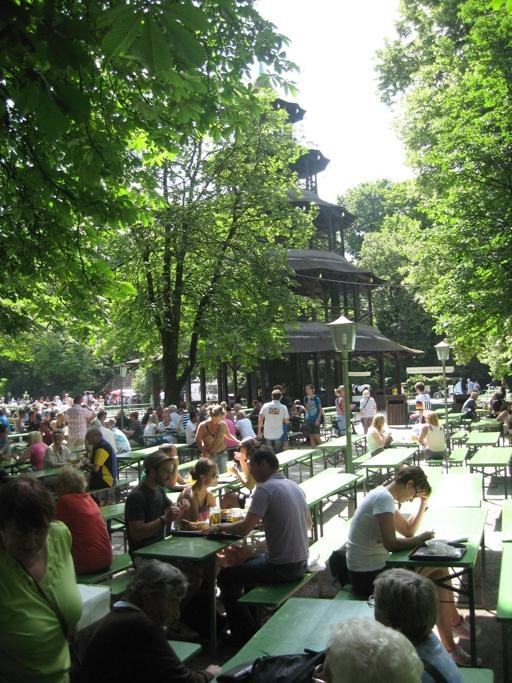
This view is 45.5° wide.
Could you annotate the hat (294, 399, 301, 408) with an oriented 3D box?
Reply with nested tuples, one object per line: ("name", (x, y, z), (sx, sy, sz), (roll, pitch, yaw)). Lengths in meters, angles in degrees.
("hat", (1.447, 2.178, 21.471), (0.241, 0.242, 0.260), (-1, -9, 5))

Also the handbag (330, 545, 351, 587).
("handbag", (0.757, 1.901, 5.164), (0.132, 0.278, 0.226), (3, -5, -33))

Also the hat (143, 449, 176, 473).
("hat", (-0.870, 1.080, 5.407), (0.234, 0.181, 0.311), (-2, -5, -10))

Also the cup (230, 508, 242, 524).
("cup", (-0.192, 1.647, 5.716), (0.093, 0.126, 0.090), (1, 6, 0))
